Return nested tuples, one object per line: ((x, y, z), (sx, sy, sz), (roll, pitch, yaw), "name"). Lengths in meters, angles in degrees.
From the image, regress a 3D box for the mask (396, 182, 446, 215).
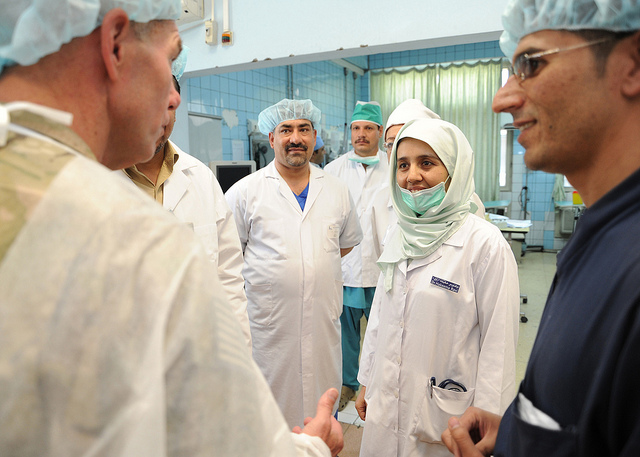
((0.417, -0.129, 2.063), (0.190, 0.145, 0.127), (12, 8, 26), "mask")

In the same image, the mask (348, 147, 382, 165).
((0.356, -0.578, 4.018), (0.270, 0.131, 0.245), (10, 8, 5), "mask")

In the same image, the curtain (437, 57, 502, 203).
((2.380, -1.584, 7.753), (0.989, 0.183, 2.533), (6, -37, 26), "curtain")

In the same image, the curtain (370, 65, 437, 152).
((1.340, -1.947, 7.762), (1.027, 1.441, 0.089), (0, -31, 8), "curtain")
